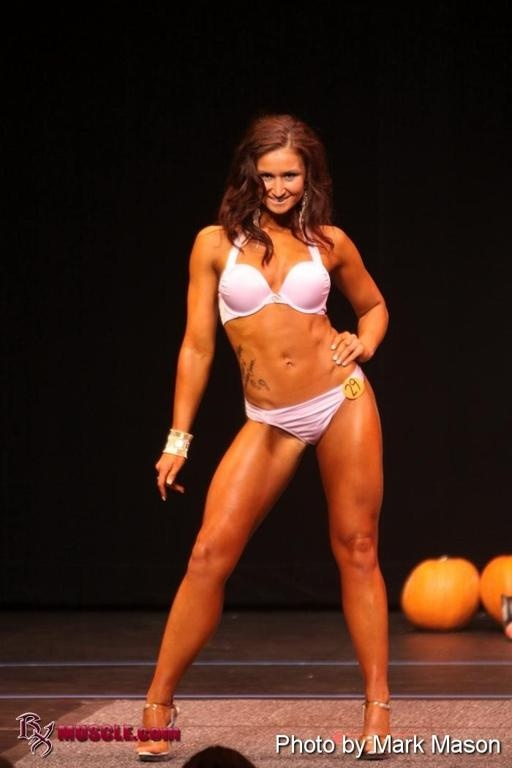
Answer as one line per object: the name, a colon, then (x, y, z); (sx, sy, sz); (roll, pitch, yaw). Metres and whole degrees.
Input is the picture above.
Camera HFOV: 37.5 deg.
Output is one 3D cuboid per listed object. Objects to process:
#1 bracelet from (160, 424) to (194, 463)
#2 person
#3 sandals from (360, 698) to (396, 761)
bracelet: (-0.171, 0.121, 1.523); (0.064, 0.060, 0.063); (6, -16, 25)
person: (0.046, 0.058, 1.506); (0.468, 1.163, 0.491); (3, 4, 1)
sandals: (0.221, 0.629, 1.366); (0.038, 0.075, 0.106); (-5, -24, 13)
